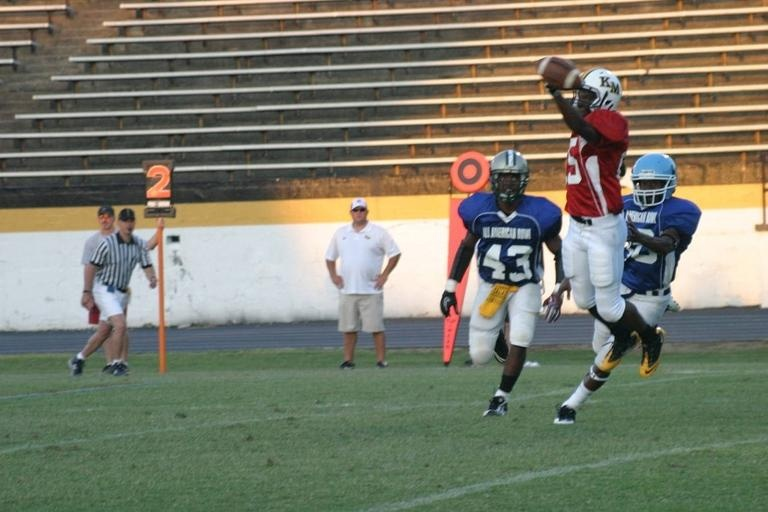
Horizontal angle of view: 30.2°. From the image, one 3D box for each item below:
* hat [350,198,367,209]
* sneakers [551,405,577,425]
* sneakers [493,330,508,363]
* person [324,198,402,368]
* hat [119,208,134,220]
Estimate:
[{"bbox_3d":[-0.469,-0.984,26.767,0.302,0.211,0.482,1,-6,0],"label":"hat"},{"bbox_3d":[2.847,2.534,22.672,0.280,0.284,0.324,8,-21,-8],"label":"sneakers"},{"bbox_3d":[1.910,1.501,23.494,0.193,0.553,0.225,3,7,8],"label":"sneakers"},{"bbox_3d":[-0.393,0.494,26.618,1.303,3.096,0.824,0,2,-1],"label":"person"},{"bbox_3d":[-4.624,-0.734,25.787,0.272,0.205,0.284,0,3,-12],"label":"hat"}]
